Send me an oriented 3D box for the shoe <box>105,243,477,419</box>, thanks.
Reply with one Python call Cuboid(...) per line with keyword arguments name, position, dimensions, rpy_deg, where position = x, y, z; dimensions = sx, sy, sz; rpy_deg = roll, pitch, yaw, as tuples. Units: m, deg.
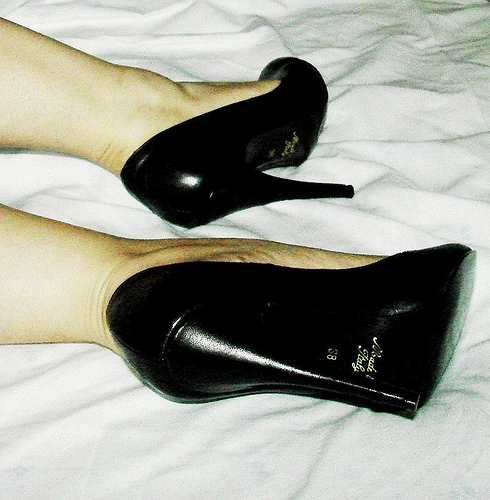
Cuboid(name="shoe", position=(0.044, 0.093, 0.677), dimensions=(0.380, 0.102, 0.167), rpy_deg=(-6, 35, -16))
